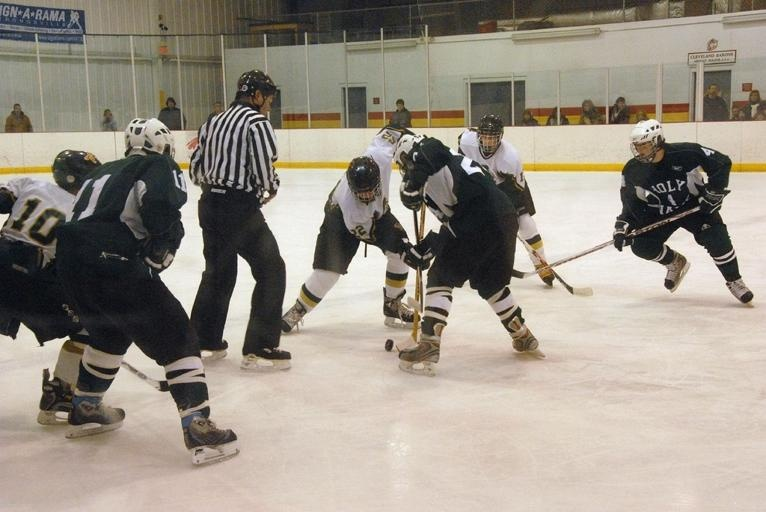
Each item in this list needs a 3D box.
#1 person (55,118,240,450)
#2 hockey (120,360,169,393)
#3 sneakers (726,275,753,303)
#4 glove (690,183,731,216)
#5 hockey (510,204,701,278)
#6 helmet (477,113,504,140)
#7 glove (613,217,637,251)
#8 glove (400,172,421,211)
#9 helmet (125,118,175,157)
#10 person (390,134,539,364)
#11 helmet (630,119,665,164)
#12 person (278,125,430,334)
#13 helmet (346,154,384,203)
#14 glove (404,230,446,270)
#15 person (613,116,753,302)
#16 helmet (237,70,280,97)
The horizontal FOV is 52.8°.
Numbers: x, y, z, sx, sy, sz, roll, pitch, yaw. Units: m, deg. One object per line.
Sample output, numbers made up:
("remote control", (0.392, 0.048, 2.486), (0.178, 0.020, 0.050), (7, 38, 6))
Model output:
("person", (-1.268, 0.274, 4.161), (0.893, 1.601, 0.458), (5, 16, 25))
("hockey", (-1.478, 0.754, 4.783), (0.235, 0.061, 0.228), (32, 0, -8))
("sneakers", (2.846, 0.273, 6.144), (0.201, 0.201, 0.208), (5, 15, 24))
("glove", (2.632, -0.456, 6.184), (0.224, 0.240, 0.230), (4, 15, 22))
("hockey", (2.116, -0.114, 7.269), (1.668, 0.192, 0.244), (-22, 18, 1))
("helmet", (0.953, -1.137, 6.813), (0.211, 0.238, 0.255), (2, 29, 5))
("glove", (1.945, -0.180, 6.256), (0.213, 0.254, 0.077), (21, -26, -22))
("glove", (0.199, -0.427, 5.031), (0.163, 0.205, 0.210), (4, -21, 6))
("helmet", (-1.326, -0.654, 4.455), (0.272, 0.269, 0.296), (3, 5, -8))
("person", (0.558, -0.030, 5.134), (0.917, 1.506, 0.574), (-1, 15, 3))
("helmet", (2.132, -0.926, 6.207), (0.246, 0.338, 0.280), (4, 15, 20))
("person", (-0.209, -0.140, 5.716), (1.223, 1.555, 0.728), (-1, 35, 4))
("helmet", (-0.121, -0.528, 5.219), (0.236, 0.290, 0.283), (-16, 55, 11))
("glove", (0.296, -0.041, 5.196), (0.181, 0.304, 0.122), (38, 27, 4))
("person", (2.439, -0.365, 6.330), (0.956, 1.559, 0.863), (-10, 7, 35))
("helmet", (-0.844, -1.167, 5.235), (0.235, 0.208, 0.188), (-11, 15, -14))
